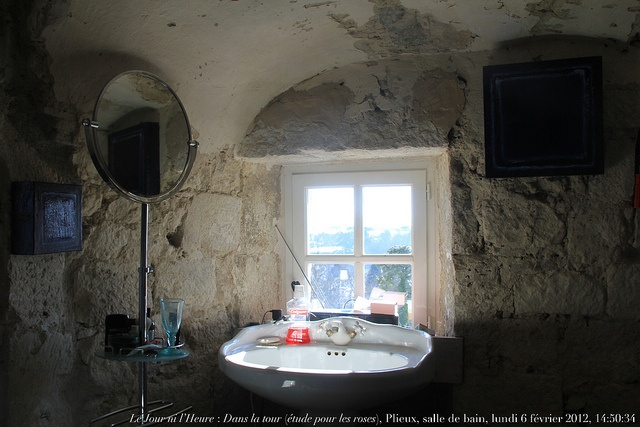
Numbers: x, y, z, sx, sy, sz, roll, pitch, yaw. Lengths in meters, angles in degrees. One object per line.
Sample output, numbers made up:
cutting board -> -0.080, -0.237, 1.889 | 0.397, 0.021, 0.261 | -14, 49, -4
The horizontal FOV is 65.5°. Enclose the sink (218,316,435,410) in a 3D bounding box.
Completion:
sink -> 0.028, 0.616, 2.067 | 0.865, 0.300, 0.463 | -1, -4, 11

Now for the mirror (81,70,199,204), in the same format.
mirror -> -0.686, -0.286, 1.845 | 0.076, 0.502, 0.538 | -7, -7, 36

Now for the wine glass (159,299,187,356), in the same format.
wine glass -> -0.558, 0.408, 1.866 | 0.077, 0.167, 0.047 | 1, -5, -19

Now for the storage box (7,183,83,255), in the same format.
storage box -> -0.948, 0.018, 1.688 | 0.098, 0.283, 0.255 | -2, -3, 26

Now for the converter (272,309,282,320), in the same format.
converter -> -0.215, 0.499, 2.442 | 0.046, 0.080, 0.047 | 0, -5, -12

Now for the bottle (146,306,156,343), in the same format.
bottle -> -0.661, 0.425, 1.933 | 0.030, 0.117, 0.206 | 1, -4, -19

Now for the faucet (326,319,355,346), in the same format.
faucet -> 0.087, 0.549, 2.293 | 0.135, 0.123, 0.077 | -16, -10, -9
